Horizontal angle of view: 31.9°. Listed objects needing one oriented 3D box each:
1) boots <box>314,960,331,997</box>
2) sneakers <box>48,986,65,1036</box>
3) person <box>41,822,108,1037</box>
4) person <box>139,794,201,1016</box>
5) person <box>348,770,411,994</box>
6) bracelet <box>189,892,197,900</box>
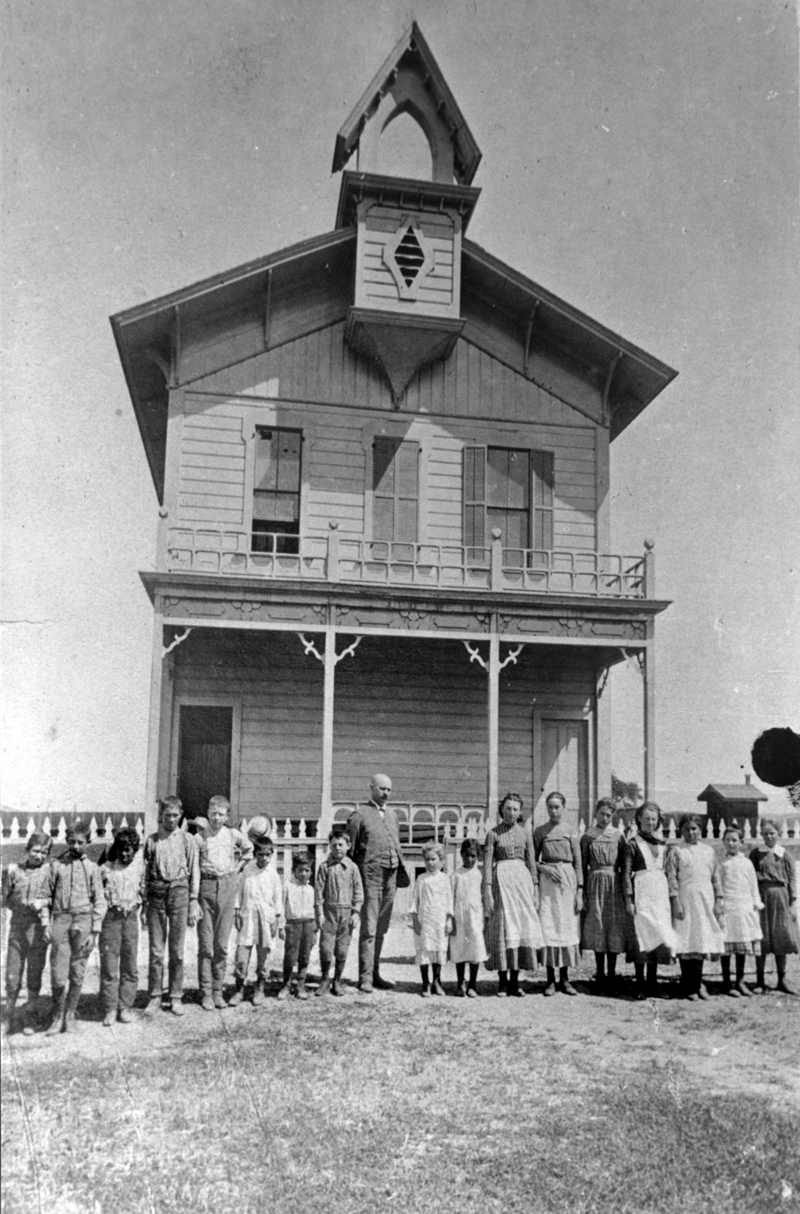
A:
[{"bbox_3d":[-0.500,2.388,8.963,0.084,0.190,0.248,1,13,-4],"label":"boots"},{"bbox_3d":[-1.923,2.269,7.831,0.074,0.345,0.214,1,-22,-5],"label":"sneakers"},{"bbox_3d":[-1.955,1.844,8.326,0.311,1.370,0.212,1,22,-18],"label":"person"},{"bbox_3d":[-1.416,1.931,8.652,0.327,1.338,1.003,0,12,-10],"label":"person"},{"bbox_3d":[-0.173,2.005,9.836,0.430,1.487,1.383,2,12,-1],"label":"person"},{"bbox_3d":[-1.296,1.807,8.736,0.041,0.061,0.027,-1,-13,-6],"label":"bracelet"}]
